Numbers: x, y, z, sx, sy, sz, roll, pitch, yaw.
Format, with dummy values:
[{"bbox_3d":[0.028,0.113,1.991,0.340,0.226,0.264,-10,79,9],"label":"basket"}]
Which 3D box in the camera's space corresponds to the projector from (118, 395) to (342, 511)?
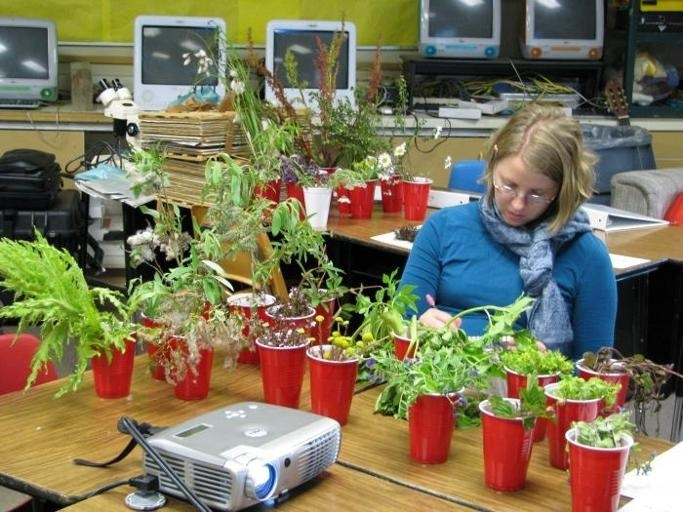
[{"bbox_3d":[-0.173,0.351,0.947,0.241,0.108,0.257,7,13,34],"label":"projector"}]
